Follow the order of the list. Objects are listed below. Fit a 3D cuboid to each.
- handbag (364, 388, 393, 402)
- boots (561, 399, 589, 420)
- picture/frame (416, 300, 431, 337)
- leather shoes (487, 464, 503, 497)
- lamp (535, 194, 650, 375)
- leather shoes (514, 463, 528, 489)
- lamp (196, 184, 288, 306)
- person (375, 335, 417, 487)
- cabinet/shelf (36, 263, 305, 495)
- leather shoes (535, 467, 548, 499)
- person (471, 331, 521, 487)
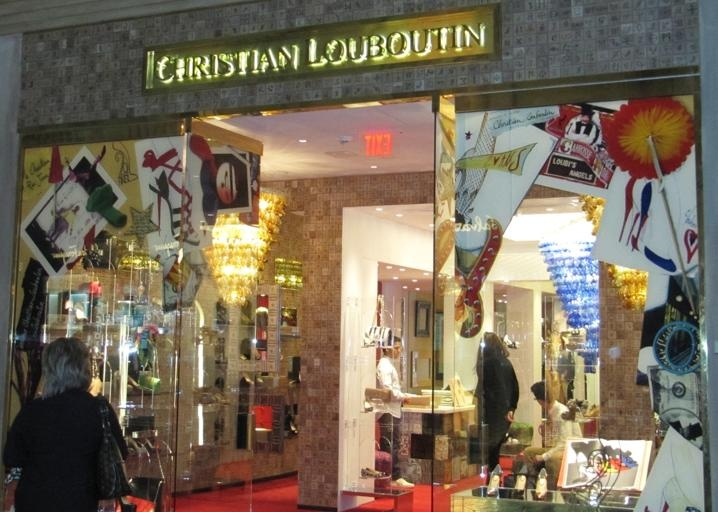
[{"bbox_3d":[0.217,1.580,9.704,0.189,0.088,0.159,4,-1,8],"label":"handbag"},{"bbox_3d":[1.456,1.033,5.719,0.073,0.113,0.233,-1,-1,22],"label":"boots"},{"bbox_3d":[1.147,1.115,15.192,0.089,0.789,0.528,-5,-8,27],"label":"picture/frame"},{"bbox_3d":[0.932,1.552,5.849,0.076,0.242,0.058,8,-8,19],"label":"leather shoes"},{"bbox_3d":[1.470,0.208,6.068,0.786,1.035,0.862,1,-21,2],"label":"lamp"},{"bbox_3d":[1.108,1.505,5.793,0.088,0.185,0.053,0,-10,8],"label":"leather shoes"},{"bbox_3d":[-1.017,-0.083,7.669,0.755,0.962,0.811,4,2,19],"label":"lamp"},{"bbox_3d":[0.442,1.829,10.101,0.395,1.635,0.938,0,-10,10],"label":"person"},{"bbox_3d":[-1.539,0.993,6.943,1.154,2.410,2.284,-6,-9,24],"label":"cabinet/shelf"},{"bbox_3d":[1.237,1.539,5.759,0.061,0.209,0.075,2,5,25],"label":"leather shoes"},{"bbox_3d":[0.961,1.030,5.885,0.286,0.976,0.078,-2,-10,17],"label":"person"}]
